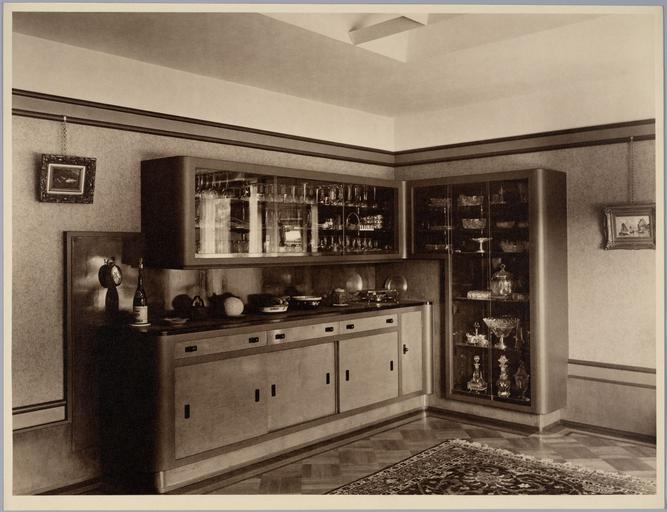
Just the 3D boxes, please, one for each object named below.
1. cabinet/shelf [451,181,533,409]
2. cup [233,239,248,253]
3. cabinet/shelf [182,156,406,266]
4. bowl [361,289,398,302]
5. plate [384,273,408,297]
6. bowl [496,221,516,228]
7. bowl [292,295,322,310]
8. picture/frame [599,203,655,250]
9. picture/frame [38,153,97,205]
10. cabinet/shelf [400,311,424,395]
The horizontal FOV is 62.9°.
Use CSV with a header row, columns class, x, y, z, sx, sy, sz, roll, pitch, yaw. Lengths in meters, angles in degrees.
class,x,y,z,sx,sy,sz,roll,pitch,yaw
cabinet/shelf,1.576,0.310,5.484,0.831,2.195,0.232,-1,-3,32
cup,-0.800,-0.084,4.641,0.061,0.107,0.115,3,1,41
cabinet/shelf,-0.322,-0.376,5.258,2.494,0.910,0.333,-1,1,-38
bowl,0.494,0.430,6.016,0.430,0.141,0.447,-1,5,0
plate,0.713,0.338,6.233,0.249,0.255,0.045,2,-4,37
bowl,1.660,-0.303,5.288,0.193,0.070,0.013,3,7,44
bowl,-0.292,0.457,5.376,0.314,0.098,0.227,1,5,20
picture/frame,2.647,-0.266,4.892,0.420,0.422,0.072,1,3,39
picture/frame,-1.960,-0.564,3.980,0.397,0.397,0.041,-2,7,-44
cabinet/shelf,0.822,1.010,5.732,0.109,0.842,0.436,2,6,37
